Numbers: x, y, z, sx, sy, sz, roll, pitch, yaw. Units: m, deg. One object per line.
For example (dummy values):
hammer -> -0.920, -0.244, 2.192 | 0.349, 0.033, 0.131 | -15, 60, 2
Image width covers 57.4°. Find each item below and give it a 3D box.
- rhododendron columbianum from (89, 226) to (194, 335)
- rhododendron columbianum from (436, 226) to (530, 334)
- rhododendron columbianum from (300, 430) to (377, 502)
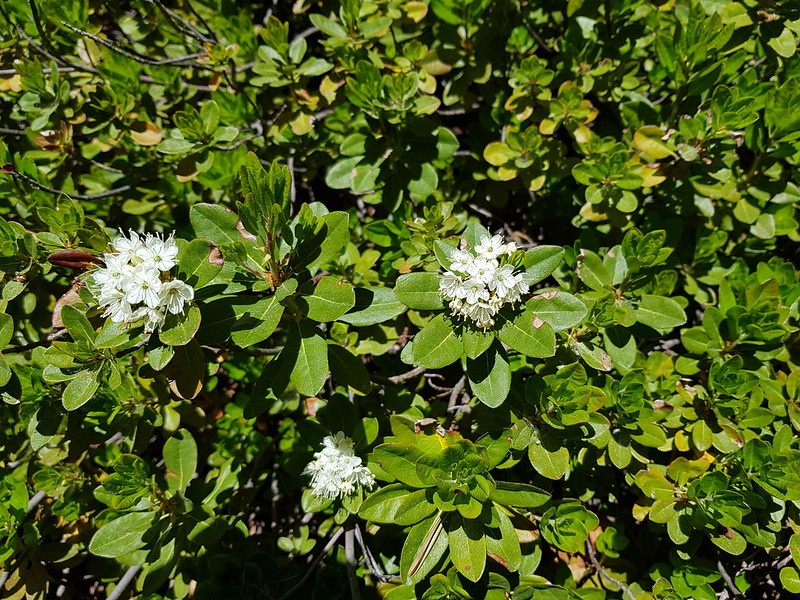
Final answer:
rhododendron columbianum -> -1.205, -0.083, 3.428 | 0.445, 0.246, 0.495 | -12, 75, 4
rhododendron columbianum -> 0.418, -0.111, 3.734 | 0.469, 0.228, 0.451 | -37, 84, -4
rhododendron columbianum -> -0.331, 0.899, 4.135 | 0.356, 0.210, 0.370 | -37, 81, 10
